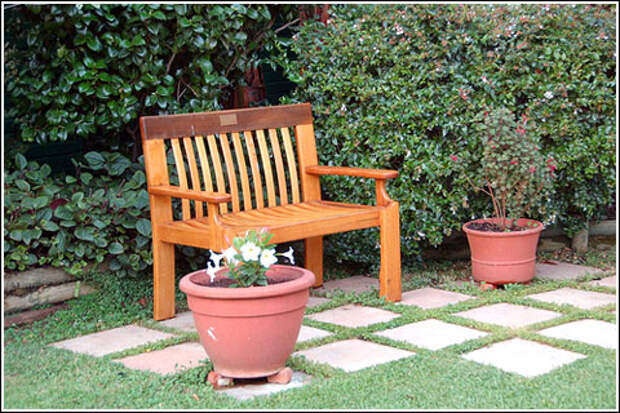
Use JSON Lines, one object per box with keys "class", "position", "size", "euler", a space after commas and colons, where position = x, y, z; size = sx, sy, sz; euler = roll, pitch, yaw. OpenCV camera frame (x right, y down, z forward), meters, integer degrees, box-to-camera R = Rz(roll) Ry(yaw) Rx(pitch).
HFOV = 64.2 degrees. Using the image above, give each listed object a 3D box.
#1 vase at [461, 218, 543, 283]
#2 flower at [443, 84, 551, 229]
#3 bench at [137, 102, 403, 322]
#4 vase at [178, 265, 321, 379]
{"class": "vase", "position": [1.569, 0.390, 4.057], "size": [0.579, 0.397, 0.568], "euler": [-2, 4, 17]}
{"class": "flower", "position": [1.605, -0.476, 4.253], "size": [0.636, 0.947, 0.860], "euler": [18, 41, 40]}
{"class": "bench", "position": [-0.323, 0.008, 3.712], "size": [1.730, 1.335, 0.981], "euler": [-5, 5, -39]}
{"class": "vase", "position": [-0.301, 0.619, 2.608], "size": [0.624, 0.408, 0.622], "euler": [1, 5, 16]}
